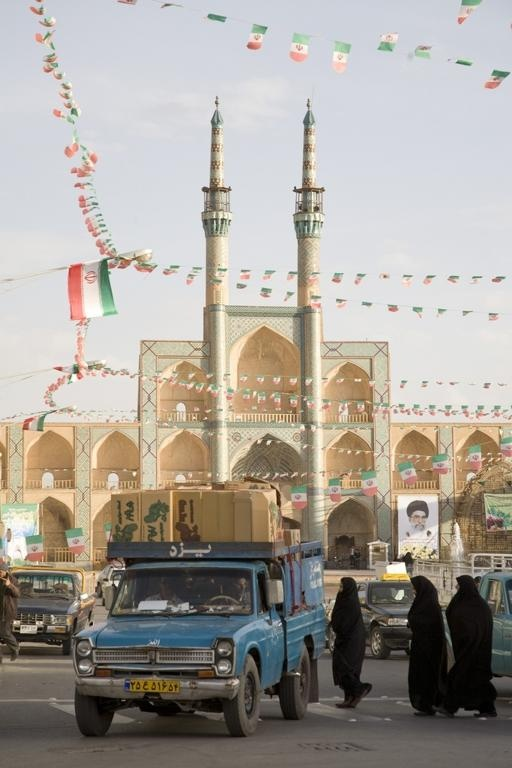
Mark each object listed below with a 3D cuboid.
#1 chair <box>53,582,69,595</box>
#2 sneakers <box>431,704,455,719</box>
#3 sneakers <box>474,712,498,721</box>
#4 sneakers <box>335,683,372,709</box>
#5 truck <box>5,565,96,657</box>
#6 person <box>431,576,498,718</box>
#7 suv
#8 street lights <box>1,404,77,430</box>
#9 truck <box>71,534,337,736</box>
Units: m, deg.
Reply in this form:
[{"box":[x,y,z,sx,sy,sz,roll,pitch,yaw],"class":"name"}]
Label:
[{"box":[-2.809,2.946,18.092,0.144,0.173,0.155,4,-24,-6],"class":"chair"},{"box":[1.642,2.864,10.997,0.143,0.082,0.287,1,-8,-18],"class":"sneakers"},{"box":[2.011,2.896,10.958,0.223,0.081,0.063,-2,0,-21],"class":"sneakers"},{"box":[0.920,2.935,11.900,0.316,0.226,0.526,-2,-8,3],"class":"sneakers"},{"box":[-2.871,3.244,18.216,1.312,0.941,2.468,0,-9,3],"class":"truck"},{"box":[1.886,2.329,11.215,0.468,1.210,0.552,-3,-8,9],"class":"person"},{"box":[1.964,3.401,18.281,1.261,0.999,2.123,2,-10,-14],"class":"suv"},{"box":[-5.073,0.912,29.322,1.443,0.838,0.543,5,-53,-2],"class":"street lights"},{"box":[-0.425,1.981,10.193,1.243,1.122,2.372,-4,-12,12],"class":"truck"}]
